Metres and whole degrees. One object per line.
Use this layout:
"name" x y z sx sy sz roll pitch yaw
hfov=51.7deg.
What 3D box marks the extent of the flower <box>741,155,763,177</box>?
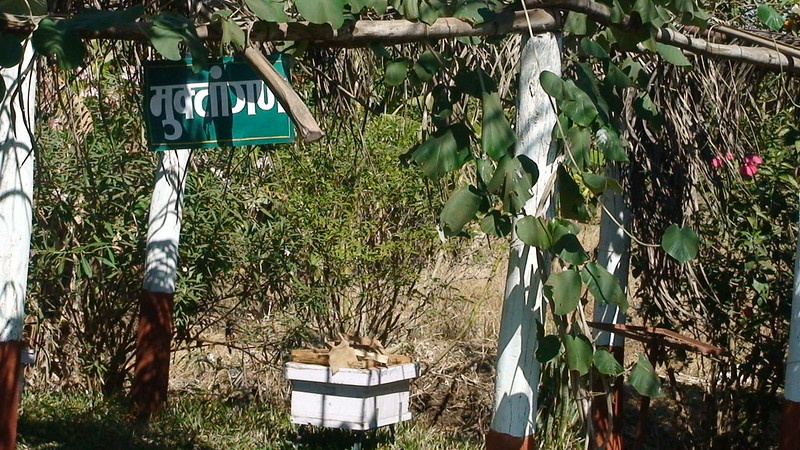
"flower" 2.989 -0.485 6.980 0.220 0.282 0.065 -3 10 -35
